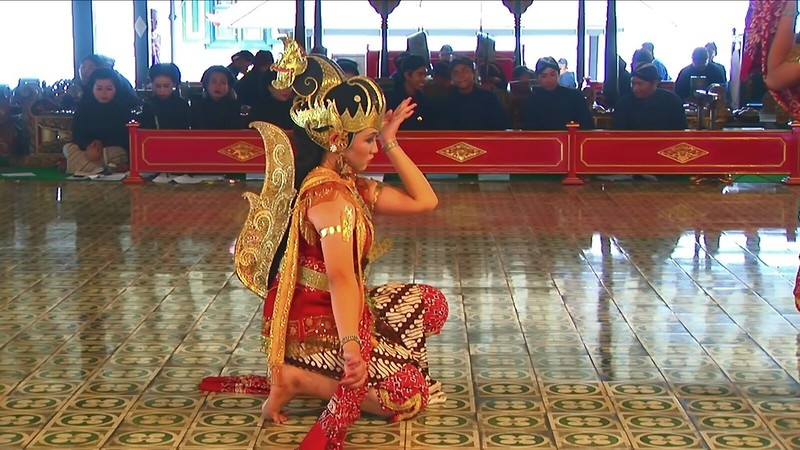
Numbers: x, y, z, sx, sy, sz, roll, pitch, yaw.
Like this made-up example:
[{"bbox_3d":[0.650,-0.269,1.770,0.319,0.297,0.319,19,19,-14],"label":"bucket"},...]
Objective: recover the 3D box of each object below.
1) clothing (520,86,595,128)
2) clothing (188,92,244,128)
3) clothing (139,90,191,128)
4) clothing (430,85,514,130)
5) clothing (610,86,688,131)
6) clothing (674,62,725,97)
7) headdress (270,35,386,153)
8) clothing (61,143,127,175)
[{"bbox_3d":[2.504,-1.841,8.550,1.088,0.658,0.370,1,16,8],"label":"clothing"},{"bbox_3d":[-2.803,-1.740,8.370,0.852,0.509,0.226,0,-3,3],"label":"clothing"},{"bbox_3d":[-3.678,-1.797,8.500,0.755,0.562,0.600,-5,14,-16],"label":"clothing"},{"bbox_3d":[1.103,-1.750,8.761,1.682,0.568,0.494,1,-15,-1],"label":"clothing"},{"bbox_3d":[3.839,-1.767,8.289,1.045,0.603,0.425,2,15,14],"label":"clothing"},{"bbox_3d":[5.534,-2.649,9.981,0.883,0.654,0.486,-3,15,-10],"label":"clothing"},{"bbox_3d":[-0.275,-0.582,2.356,0.695,0.414,0.399,9,38,6],"label":"headdress"},{"bbox_3d":[-4.734,-1.002,8.455,0.748,0.213,0.680,-10,22,-35],"label":"clothing"}]
